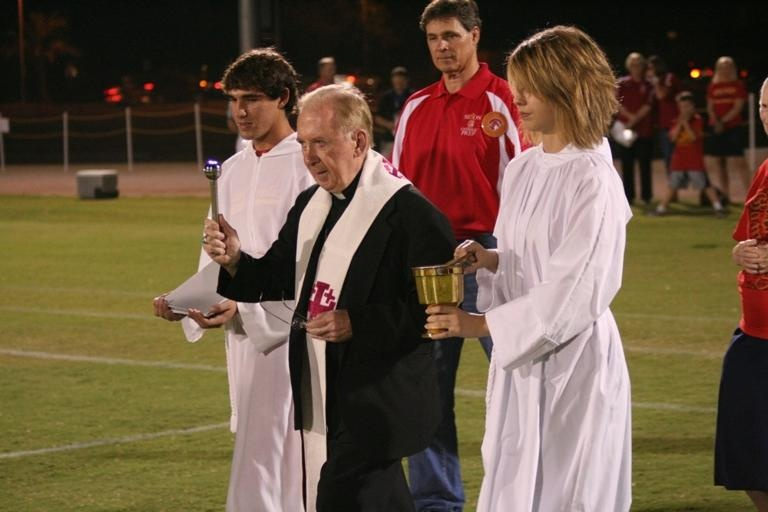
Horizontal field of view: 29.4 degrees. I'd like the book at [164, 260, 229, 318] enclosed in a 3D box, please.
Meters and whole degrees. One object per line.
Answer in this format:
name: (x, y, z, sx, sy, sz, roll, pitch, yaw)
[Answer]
book: (-1.275, 0.226, 9.922, 0.386, 0.349, 0.112, -31, 35, -15)
